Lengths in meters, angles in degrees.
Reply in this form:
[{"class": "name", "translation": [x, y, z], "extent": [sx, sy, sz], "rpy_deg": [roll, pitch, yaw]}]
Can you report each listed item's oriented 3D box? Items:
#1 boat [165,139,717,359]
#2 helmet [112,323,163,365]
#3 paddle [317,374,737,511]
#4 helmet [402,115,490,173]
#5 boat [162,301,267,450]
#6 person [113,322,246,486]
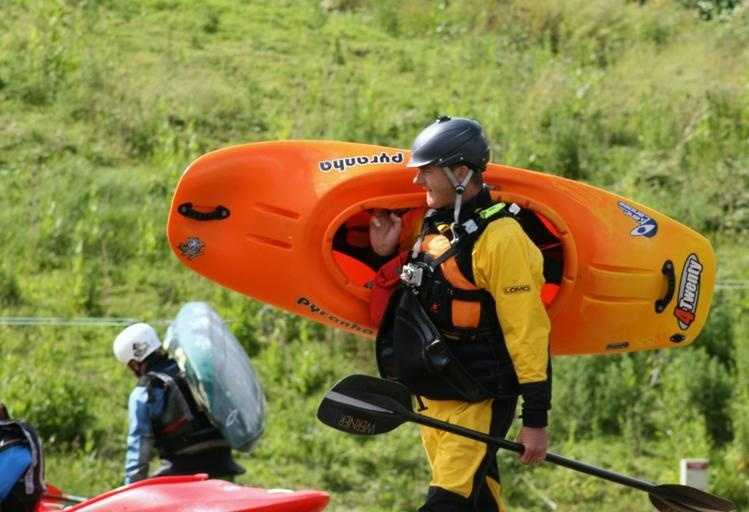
[{"class": "boat", "translation": [0.639, -0.111, 12.660], "extent": [4.378, 1.848, 1.037], "rpy_deg": [12, 17, -4]}, {"class": "helmet", "translation": [-1.876, 0.686, 12.705], "extent": [0.350, 0.258, 0.281], "rpy_deg": [-20, 80, -22]}, {"class": "paddle", "translation": [1.433, 1.529, 13.157], "extent": [3.198, 0.604, 0.248], "rpy_deg": [19, 8, 0]}, {"class": "helmet", "translation": [0.571, -0.832, 11.916], "extent": [0.519, 0.378, 0.341], "rpy_deg": [2, 90, -6]}, {"class": "boat", "translation": [-1.192, 0.901, 12.457], "extent": [1.161, 0.323, 0.688], "rpy_deg": [61, 31, -14]}, {"class": "person", "translation": [-1.501, 1.178, 12.586], "extent": [0.824, 0.664, 1.172], "rpy_deg": [-41, 101, -42]}]
